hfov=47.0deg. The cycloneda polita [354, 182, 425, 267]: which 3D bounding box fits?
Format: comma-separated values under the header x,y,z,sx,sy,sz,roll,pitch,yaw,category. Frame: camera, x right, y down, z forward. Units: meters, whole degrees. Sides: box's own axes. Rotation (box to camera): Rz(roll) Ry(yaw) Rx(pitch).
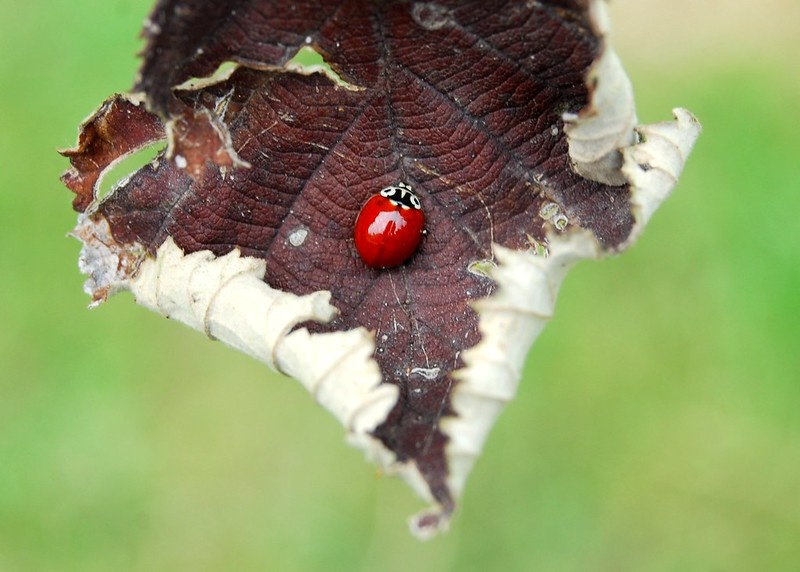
x,y,z,sx,sy,sz,roll,pitch,yaw,category
-0.027,-0.152,2.372,0.169,0.098,0.185,-3,-69,2,cycloneda polita
